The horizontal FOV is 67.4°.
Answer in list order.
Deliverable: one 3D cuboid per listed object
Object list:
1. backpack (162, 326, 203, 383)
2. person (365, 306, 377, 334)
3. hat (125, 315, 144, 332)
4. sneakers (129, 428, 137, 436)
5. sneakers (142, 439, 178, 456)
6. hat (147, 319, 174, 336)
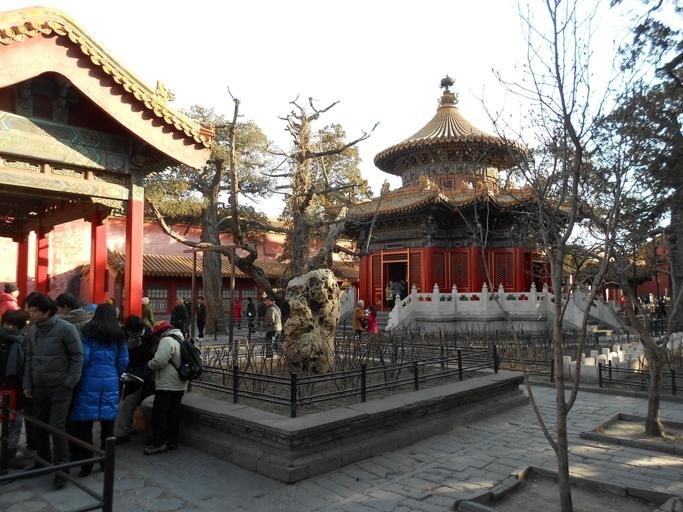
[{"bbox_3d":[-2.120,1.429,7.001,0.468,0.584,0.398,-4,-17,-2],"label":"backpack"},{"bbox_3d":[0.876,1.944,15.408,0.434,0.431,1.001,8,24,1],"label":"person"},{"bbox_3d":[-2.964,0.983,7.360,0.195,0.208,0.259,-2,-4,-8],"label":"hat"},{"bbox_3d":[-2.980,2.539,7.372,0.113,0.104,0.188,9,-23,-20],"label":"sneakers"},{"bbox_3d":[-2.388,2.540,6.781,0.438,0.168,0.144,10,-5,-25],"label":"sneakers"},{"bbox_3d":[-2.524,0.968,7.301,0.261,0.174,0.359,-14,13,7],"label":"hat"}]
